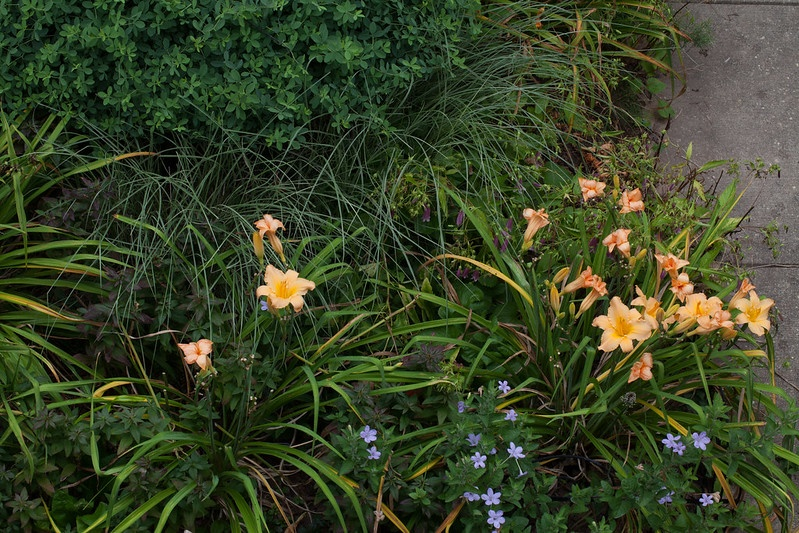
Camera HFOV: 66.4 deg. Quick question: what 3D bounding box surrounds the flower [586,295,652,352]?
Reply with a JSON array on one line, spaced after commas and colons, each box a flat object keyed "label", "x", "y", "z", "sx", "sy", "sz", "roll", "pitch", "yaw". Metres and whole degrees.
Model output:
[{"label": "flower", "x": 1.043, "y": 0.301, "z": 2.924, "sx": 0.263, "sy": 0.139, "sz": 0.258, "roll": -23, "pitch": 55, "yaw": -2}]

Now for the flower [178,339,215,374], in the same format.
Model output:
[{"label": "flower", "x": -0.975, "y": 0.442, "z": 3.018, "sx": 0.165, "sy": 0.037, "sz": 0.181, "roll": 23, "pitch": 39, "yaw": -4}]

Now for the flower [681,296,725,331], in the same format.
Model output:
[{"label": "flower", "x": 1.463, "y": 0.228, "z": 2.975, "sx": 0.217, "sy": 0.125, "sz": 0.125, "roll": 6, "pitch": 46, "yaw": -2}]

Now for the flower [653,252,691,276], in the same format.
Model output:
[{"label": "flower", "x": 1.424, "y": -0.013, "z": 3.207, "sx": 0.141, "sy": 0.086, "sz": 0.157, "roll": 17, "pitch": 36, "yaw": 26}]

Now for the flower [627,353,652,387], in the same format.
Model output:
[{"label": "flower", "x": 1.184, "y": 0.527, "z": 3.027, "sx": 0.052, "sy": 0.144, "sz": 0.138, "roll": 14, "pitch": 56, "yaw": 0}]

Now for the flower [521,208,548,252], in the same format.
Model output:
[{"label": "flower", "x": 0.765, "y": -0.203, "z": 3.485, "sx": 0.140, "sy": 0.241, "sz": 0.157, "roll": 16, "pitch": 25, "yaw": -1}]

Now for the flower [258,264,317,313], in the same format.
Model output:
[{"label": "flower", "x": -0.543, "y": 0.150, "z": 2.873, "sx": 0.279, "sy": 0.169, "sz": 0.262, "roll": 27, "pitch": 27, "yaw": 38}]
